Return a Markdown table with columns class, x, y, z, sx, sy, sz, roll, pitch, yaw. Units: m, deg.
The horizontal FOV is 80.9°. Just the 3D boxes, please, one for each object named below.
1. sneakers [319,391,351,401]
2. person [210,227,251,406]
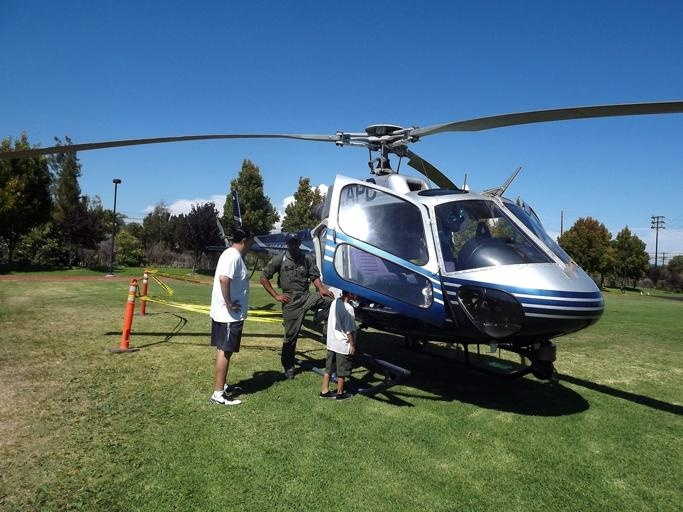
| class | x | y | z | sx | sy | sz | roll | pitch | yaw |
| --- | --- | --- | --- | --- | --- | --- | --- | --- | --- |
| sneakers | -0.100 | 1.820 | 5.328 | 0.420 | 0.139 | 0.140 | 1 | -7 | -5 |
| person | -1.444 | 0.730 | 5.131 | 0.460 | 2.142 | 0.721 | 1 | 8 | -15 |
